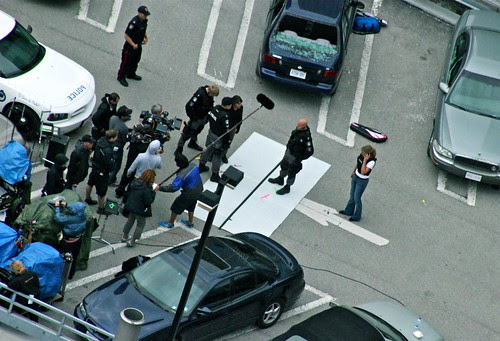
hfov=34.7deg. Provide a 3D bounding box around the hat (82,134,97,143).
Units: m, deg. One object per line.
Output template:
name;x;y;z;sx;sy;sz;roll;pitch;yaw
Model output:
hat;-3.845;-0.712;19.112;0.254;0.159;0.197;10;22;-16

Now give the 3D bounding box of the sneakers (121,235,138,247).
sneakers;-2.916;1.714;19.439;0.231;0.119;0.347;23;13;6

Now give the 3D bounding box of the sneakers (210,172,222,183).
sneakers;-0.870;0.181;20.435;0.201;0.212;0.122;0;62;-7

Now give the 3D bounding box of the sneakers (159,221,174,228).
sneakers;-2.086;1.345;20.023;0.325;0.161;0.153;15;23;-9

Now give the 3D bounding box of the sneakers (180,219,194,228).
sneakers;-1.586;1.316;20.248;0.348;0.154;0.150;30;25;8

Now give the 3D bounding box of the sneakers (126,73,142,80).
sneakers;-3.254;-2.618;22.579;0.406;0.191;0.179;-1;61;-6

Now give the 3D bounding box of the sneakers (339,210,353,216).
sneakers;2.511;1.116;20.999;0.335;0.106;0.137;14;36;19

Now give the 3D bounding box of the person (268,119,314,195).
person;1.146;-0.363;20.778;0.463;2.305;0.933;-5;35;-31

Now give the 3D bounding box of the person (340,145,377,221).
person;2.796;0.347;20.460;0.596;2.129;0.354;19;29;9

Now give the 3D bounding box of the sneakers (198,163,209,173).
sneakers;-1.232;-0.053;21.067;0.288;0.297;0.151;-17;62;-21

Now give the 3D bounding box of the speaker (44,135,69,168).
speaker;-4.677;-0.464;19.395;0.381;0.795;0.384;25;11;7

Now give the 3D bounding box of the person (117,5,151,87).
person;-3.181;-3.398;22.083;0.699;2.153;0.422;-13;38;-40
